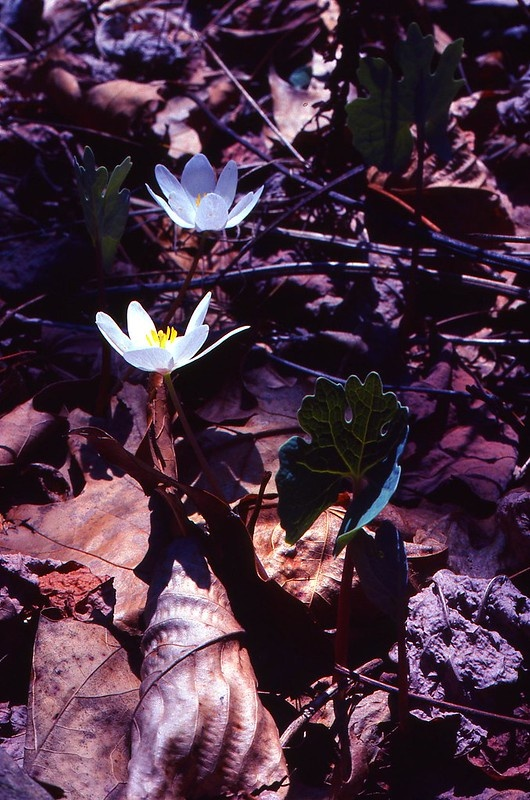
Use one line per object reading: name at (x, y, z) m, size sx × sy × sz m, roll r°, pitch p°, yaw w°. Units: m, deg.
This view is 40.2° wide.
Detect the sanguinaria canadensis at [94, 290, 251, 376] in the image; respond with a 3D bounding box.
sanguinaria canadensis at (-0.276, -0.164, 2.128) m, size 0.382 × 0.171 × 0.314 m, roll 6°, pitch 15°, yaw 25°

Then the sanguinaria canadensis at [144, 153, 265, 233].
sanguinaria canadensis at (-0.226, -0.824, 2.705) m, size 0.381 × 0.187 × 0.296 m, roll -5°, pitch 10°, yaw -3°
